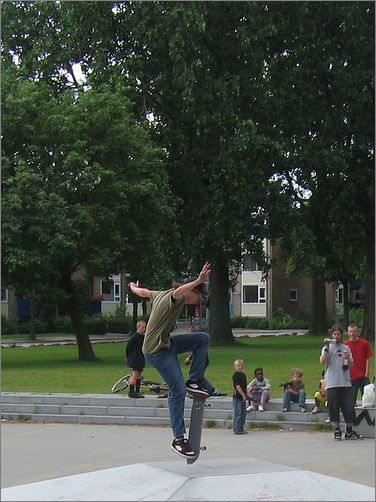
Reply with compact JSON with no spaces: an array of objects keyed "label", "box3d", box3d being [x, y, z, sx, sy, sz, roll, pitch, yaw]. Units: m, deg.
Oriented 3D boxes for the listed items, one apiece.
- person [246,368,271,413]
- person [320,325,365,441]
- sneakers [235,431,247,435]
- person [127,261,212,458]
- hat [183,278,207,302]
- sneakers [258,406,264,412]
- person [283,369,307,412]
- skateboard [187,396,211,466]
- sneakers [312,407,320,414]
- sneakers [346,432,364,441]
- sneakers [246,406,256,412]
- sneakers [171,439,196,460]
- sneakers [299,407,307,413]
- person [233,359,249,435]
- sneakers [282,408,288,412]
[{"label":"person","box3d":[1.400,2.780,17.560,0.532,0.982,0.730,2,-29,7]},{"label":"person","box3d":[2.663,2.298,15.533,0.588,2.012,0.819,-2,-5,27]},{"label":"sneakers","box3d":[0.981,3.355,16.360,0.212,0.092,0.072,-4,-2,6]},{"label":"person","box3d":[-0.205,1.505,12.107,1.007,2.587,1.003,0,-5,1]},{"label":"hat","box3d":[0.113,0.508,12.074,0.199,0.347,0.213,-26,7,3]},{"label":"sneakers","box3d":[1.431,3.092,17.396,0.104,0.120,0.122,1,-5,-4]},{"label":"person","box3d":[2.078,2.738,17.416,0.457,0.822,0.593,0,-5,7]},{"label":"skateboard","box3d":[0.125,2.450,12.146,0.236,0.914,0.134,2,-9,12]},{"label":"sneakers","box3d":[2.465,3.053,17.071,0.192,0.156,0.067,3,-6,-28]},{"label":"sneakers","box3d":[2.889,3.233,15.522,0.344,0.159,0.122,-1,-2,4]},{"label":"sneakers","box3d":[1.230,3.100,17.397,0.185,0.080,0.067,14,-15,-41]},{"label":"sneakers","box3d":[-0.060,2.677,12.029,0.358,0.267,0.156,-5,-7,43]},{"label":"sneakers","box3d":[2.221,3.066,17.143,0.080,0.076,0.140,2,-11,-11]},{"label":"person","box3d":[0.983,2.739,16.696,0.254,1.366,0.715,0,-5,3]},{"label":"sneakers","box3d":[1.892,3.093,17.240,0.122,0.067,0.068,1,-5,-6]}]
